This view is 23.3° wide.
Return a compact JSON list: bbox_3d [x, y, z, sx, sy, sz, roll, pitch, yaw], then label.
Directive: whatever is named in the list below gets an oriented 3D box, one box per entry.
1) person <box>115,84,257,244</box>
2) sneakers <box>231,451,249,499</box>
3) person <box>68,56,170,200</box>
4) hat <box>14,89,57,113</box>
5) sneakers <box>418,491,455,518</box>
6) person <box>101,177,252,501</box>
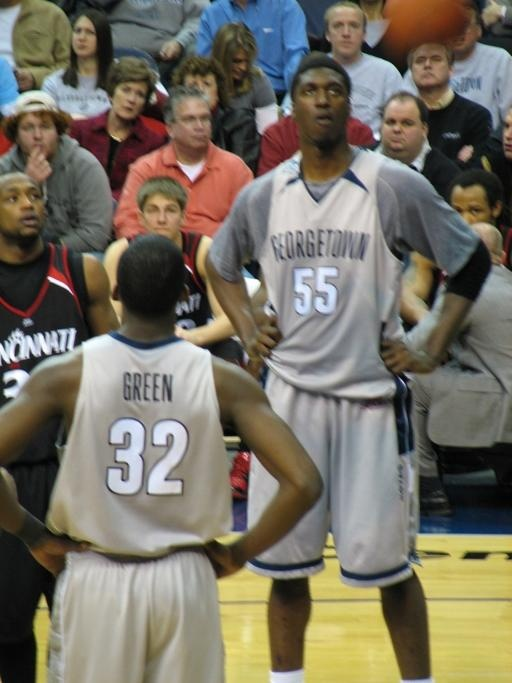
[{"bbox_3d":[-0.338,-0.835,6.344,0.854,0.874,0.559,-4,12,-20],"label":"person"},{"bbox_3d":[-0.066,0.613,5.642,0.068,0.248,0.110,0,-26,2],"label":"sneakers"},{"bbox_3d":[-0.750,-1.088,6.691,0.538,0.820,0.459,6,7,-22],"label":"person"},{"bbox_3d":[-1.043,-1.108,5.879,0.141,0.117,0.148,-1,0,-3],"label":"hat"},{"bbox_3d":[0.794,0.725,5.477,0.110,0.114,0.111,-11,-18,37],"label":"sneakers"},{"bbox_3d":[-0.364,-0.037,5.523,0.804,1.451,0.702,0,4,43],"label":"person"}]
